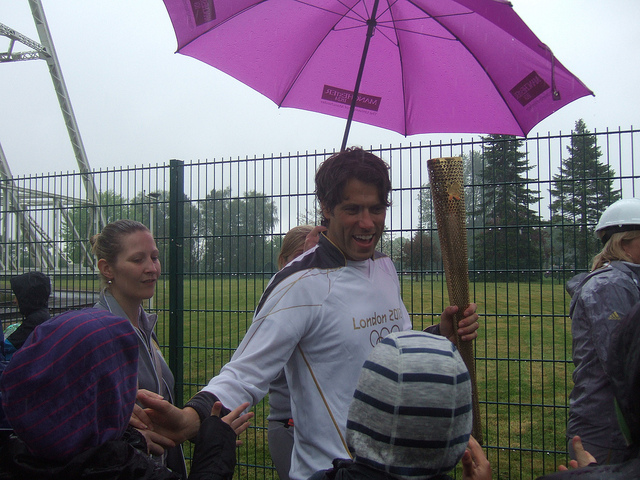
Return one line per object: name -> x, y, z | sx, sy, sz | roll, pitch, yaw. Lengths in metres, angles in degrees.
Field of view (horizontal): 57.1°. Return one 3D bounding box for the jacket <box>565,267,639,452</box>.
jacket -> 1.921, 0.809, 3.988 | 0.423, 1.221, 1.131 | -1, -6, 21
